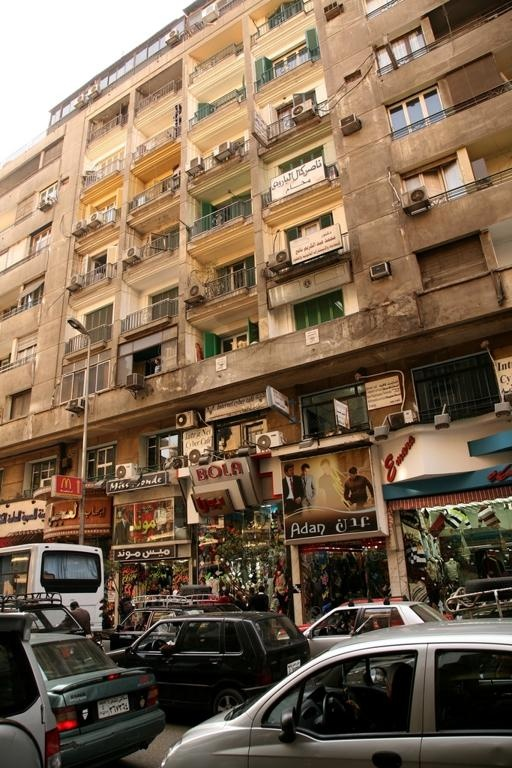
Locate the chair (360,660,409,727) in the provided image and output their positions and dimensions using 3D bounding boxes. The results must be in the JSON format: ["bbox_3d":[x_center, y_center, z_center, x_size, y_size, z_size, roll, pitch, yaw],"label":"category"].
[{"bbox_3d":[0.694,1.660,2.963,0.187,0.270,0.277,-23,-19,20],"label":"chair"}]
